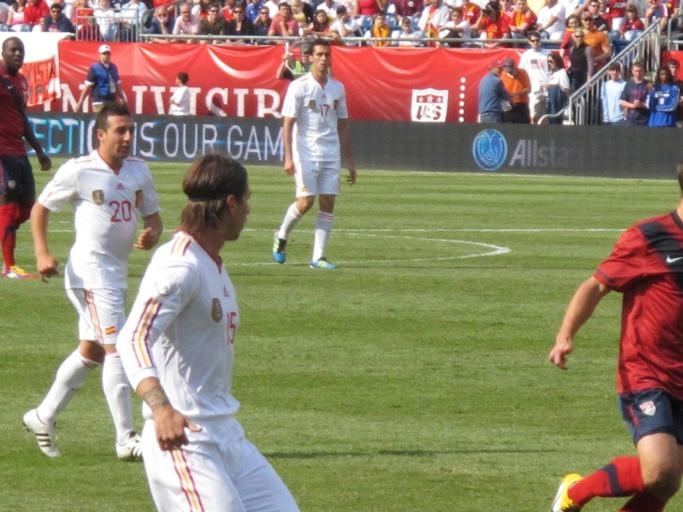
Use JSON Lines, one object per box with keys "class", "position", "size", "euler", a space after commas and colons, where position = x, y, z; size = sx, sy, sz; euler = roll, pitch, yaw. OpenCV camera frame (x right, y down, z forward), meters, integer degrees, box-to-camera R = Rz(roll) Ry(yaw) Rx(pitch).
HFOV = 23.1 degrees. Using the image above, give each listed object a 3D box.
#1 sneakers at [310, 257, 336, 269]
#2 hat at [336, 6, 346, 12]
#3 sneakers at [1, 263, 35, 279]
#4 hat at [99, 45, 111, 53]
{"class": "sneakers", "position": [-0.237, 0.100, 21.729], "size": [0.346, 0.136, 0.128], "euler": [0, 1, 11]}
{"class": "hat", "position": [0.005, -5.562, 37.512], "size": [0.218, 0.106, 0.215], "euler": [6, 10, 32]}
{"class": "sneakers", "position": [-4.102, 0.196, 21.087], "size": [0.471, 0.173, 0.156], "euler": [0, 4, 2]}
{"class": "hat", "position": [-4.880, -4.265, 34.362], "size": [0.270, 0.138, 0.400], "euler": [-1, 5, -20]}
